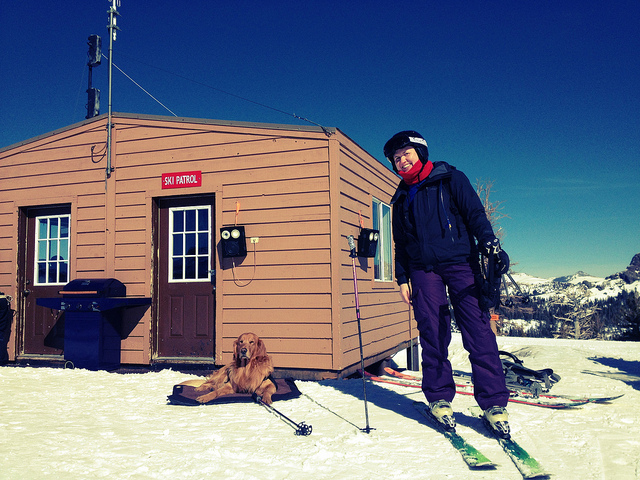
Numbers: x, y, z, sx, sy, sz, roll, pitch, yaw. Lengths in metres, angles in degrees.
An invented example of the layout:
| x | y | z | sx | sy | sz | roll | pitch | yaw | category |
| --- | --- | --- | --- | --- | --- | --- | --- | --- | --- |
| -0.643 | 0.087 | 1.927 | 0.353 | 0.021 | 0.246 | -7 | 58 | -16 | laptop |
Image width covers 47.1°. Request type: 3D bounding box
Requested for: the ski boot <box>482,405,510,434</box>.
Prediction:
| x | y | z | sx | sy | sz | roll | pitch | yaw | category |
| --- | --- | --- | --- | --- | --- | --- | --- | --- | --- |
| 1.841 | 1.858 | 7.622 | 0.118 | 0.192 | 0.402 | 14 | 27 | -27 | ski boot |

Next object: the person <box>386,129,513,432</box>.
| x | y | z | sx | sy | sz | roll | pitch | yaw | category |
| --- | --- | --- | --- | --- | --- | --- | --- | --- | --- |
| 1.354 | 0.395 | 7.882 | 1.396 | 3.046 | 0.713 | 4 | 11 | 23 | person |

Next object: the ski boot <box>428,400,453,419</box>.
| x | y | z | sx | sy | sz | roll | pitch | yaw | category |
| --- | --- | --- | --- | --- | --- | --- | --- | --- | --- |
| 1.284 | 1.808 | 7.844 | 0.235 | 0.169 | 0.197 | 1 | 11 | 8 | ski boot |

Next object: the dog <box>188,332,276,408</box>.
| x | y | z | sx | sy | sz | roll | pitch | yaw | category |
| --- | --- | --- | --- | --- | --- | --- | --- | --- | --- |
| -1.027 | 1.561 | 8.915 | 0.929 | 0.725 | 0.666 | -1 | 11 | -2 | dog |
